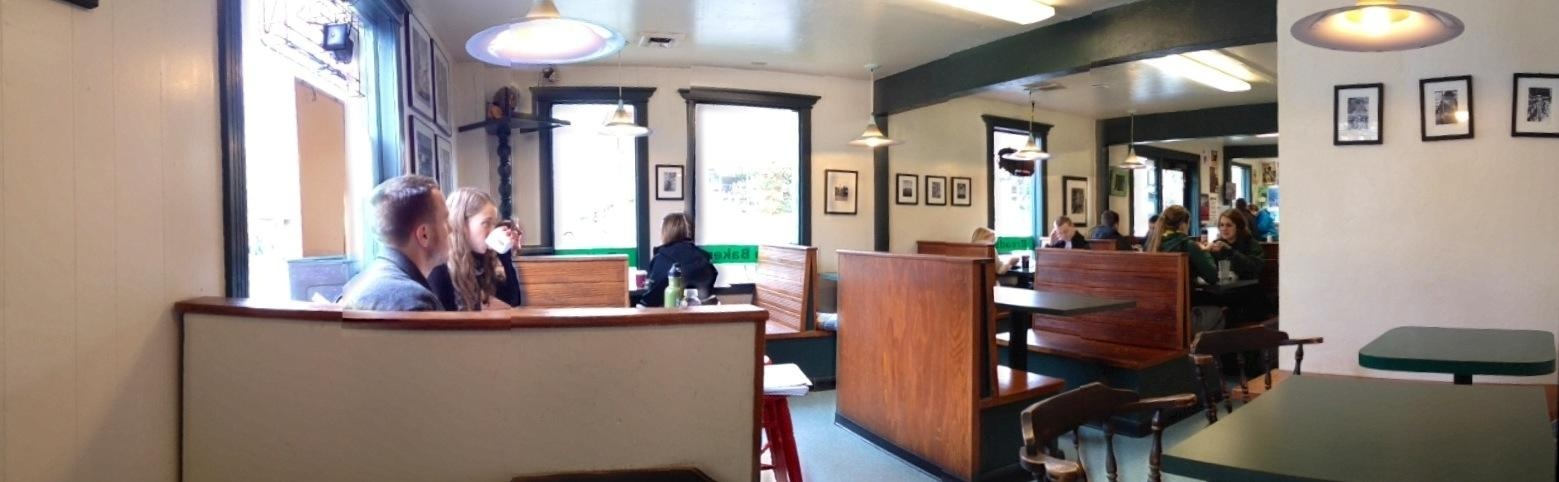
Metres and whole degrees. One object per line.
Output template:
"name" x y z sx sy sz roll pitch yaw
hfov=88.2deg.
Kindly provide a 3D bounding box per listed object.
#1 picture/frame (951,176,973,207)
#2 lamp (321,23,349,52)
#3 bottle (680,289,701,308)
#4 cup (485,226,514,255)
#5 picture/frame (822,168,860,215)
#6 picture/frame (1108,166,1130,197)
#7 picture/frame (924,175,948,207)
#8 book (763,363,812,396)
"picture/frame" 3.693 -0.996 16.481 0.468 0.561 0.026 -2 2 -24
"lamp" -6.369 -2.904 11.631 0.589 0.317 0.463 -1 3 -15
"bottle" -1.257 0.835 11.691 0.421 0.235 0.320 -1 2 13
"cup" -3.987 0.002 11.459 0.362 0.423 0.423 46 -13 -10
"picture/frame" 1.136 -0.940 15.566 0.638 0.821 0.032 -1 2 -16
"picture/frame" 7.619 -1.311 18.088 0.684 0.636 0.123 -2 2 -35
"picture/frame" 3.141 -1.012 16.256 0.553 0.610 0.045 -2 2 -24
"book" 0.046 1.755 10.256 0.755 0.097 0.551 0 8 5
